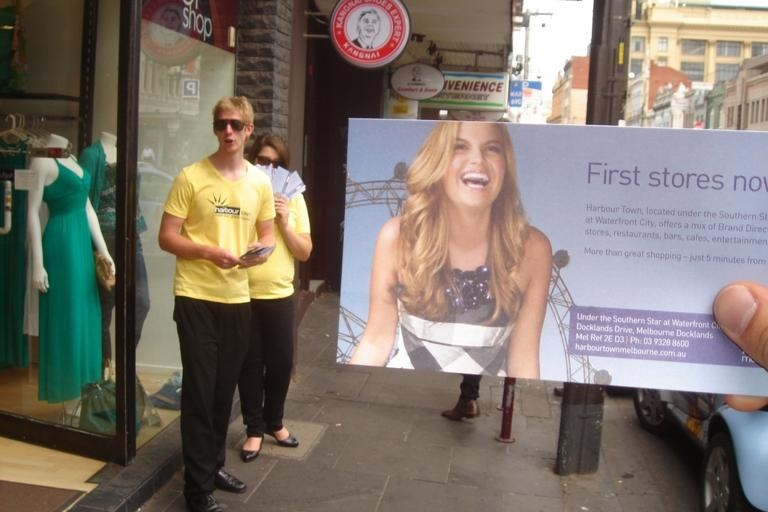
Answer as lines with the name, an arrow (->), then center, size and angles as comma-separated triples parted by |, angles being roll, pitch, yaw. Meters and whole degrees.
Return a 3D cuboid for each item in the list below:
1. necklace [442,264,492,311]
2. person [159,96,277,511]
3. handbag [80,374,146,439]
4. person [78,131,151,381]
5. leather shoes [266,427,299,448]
necklace -> 0.549, 0.219, 4.099 | 0.280, 0.293, 0.085 | -7, 9, -4
person -> -1.229, 0.360, 4.502 | 0.791, 3.016, 0.591 | 0, 9, -21
handbag -> -2.194, 1.198, 4.983 | 0.504, 0.427, 0.388 | -1, 10, -28
person -> -2.184, -0.056, 5.005 | 0.544, 1.858, 0.415 | -1, 10, -28
leather shoes -> -0.876, 1.601, 5.510 | 0.366, 0.130, 0.128 | 8, 4, 6
